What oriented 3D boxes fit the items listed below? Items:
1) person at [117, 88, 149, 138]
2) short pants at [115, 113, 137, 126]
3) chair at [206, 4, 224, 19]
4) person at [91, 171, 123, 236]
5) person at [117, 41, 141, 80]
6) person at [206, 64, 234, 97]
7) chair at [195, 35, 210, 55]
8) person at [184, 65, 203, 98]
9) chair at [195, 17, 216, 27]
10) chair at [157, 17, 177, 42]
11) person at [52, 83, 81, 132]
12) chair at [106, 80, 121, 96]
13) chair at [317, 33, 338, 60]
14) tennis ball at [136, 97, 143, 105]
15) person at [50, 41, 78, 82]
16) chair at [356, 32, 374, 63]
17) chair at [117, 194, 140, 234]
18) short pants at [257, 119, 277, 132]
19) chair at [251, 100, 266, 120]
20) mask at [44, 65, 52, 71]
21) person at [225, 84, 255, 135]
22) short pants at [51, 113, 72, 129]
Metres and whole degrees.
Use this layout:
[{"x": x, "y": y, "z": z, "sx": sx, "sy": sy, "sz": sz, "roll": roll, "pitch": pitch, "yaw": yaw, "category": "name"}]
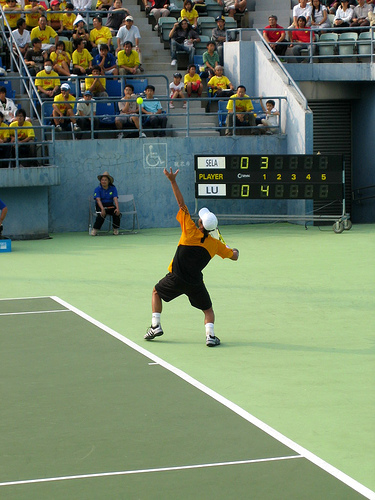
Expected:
[{"x": -1.582, "y": -3.926, "z": 17.948, "sx": 0.818, "sy": 1.356, "sz": 1.196, "roll": -1, "pitch": 6, "yaw": -5, "category": "person"}, {"x": -1.746, "y": -3.770, "z": 17.961, "sx": 0.571, "sy": 0.313, "sz": 0.463, "roll": -1, "pitch": 6, "yaw": -6, "category": "short pants"}, {"x": 1.053, "y": -9.093, "z": 23.796, "sx": 0.692, "sy": 0.480, "sz": 0.546, "roll": 0, "pitch": -2, "yaw": -10, "category": "chair"}, {"x": -2.190, "y": -1.250, "z": 17.030, "sx": 0.727, "sy": 1.697, "sz": 0.612, "roll": 1, "pitch": 6, "yaw": 10, "category": "person"}, {"x": -1.812, "y": -5.831, "z": 19.671, "sx": 0.745, "sy": 1.357, "sz": 0.818, "roll": -13, "pitch": 25, "yaw": -31, "category": "person"}, {"x": 1.097, "y": -5.296, "z": 19.806, "sx": 0.901, "sy": 1.028, "sz": 0.773, "roll": 3, "pitch": 7, "yaw": 32, "category": "person"}, {"x": 0.563, "y": -7.148, "z": 21.887, "sx": 0.387, "sy": 0.756, "sz": 0.665, "roll": 2, "pitch": 7, "yaw": 23, "category": "chair"}, {"x": 0.189, "y": -5.350, "z": 19.998, "sx": 0.440, "sy": 0.929, "sz": 0.863, "roll": 2, "pitch": 7, "yaw": 21, "category": "person"}, {"x": 0.645, "y": -8.210, "z": 22.625, "sx": 0.742, "sy": 0.436, "sz": 0.260, "roll": -2, "pitch": 5, "yaw": -13, "category": "chair"}, {"x": -0.732, "y": -7.816, "z": 22.384, "sx": 0.725, "sy": 0.864, "sz": 0.861, "roll": -1, "pitch": 13, "yaw": -4, "category": "chair"}, {"x": -3.358, "y": -3.983, "z": 17.433, "sx": 0.725, "sy": 1.312, "sz": 1.421, "roll": -2, "pitch": 17, "yaw": -20, "category": "person"}, {"x": -2.222, "y": -4.971, "z": 19.203, "sx": 0.424, "sy": 0.493, "sz": 0.254, "roll": -1, "pitch": 6, "yaw": -3, "category": "chair"}, {"x": 4.635, "y": -6.789, "z": 20.791, "sx": 0.653, "sy": 1.033, "sz": 1.232, "roll": 1, "pitch": 6, "yaw": 11, "category": "chair"}, {"x": -1.238, "y": -3.962, "z": 16.690, "sx": 0.153, "sy": 0.173, "sz": 0.152, "roll": -18, "pitch": 27, "yaw": 10, "category": "tennis ball"}, {"x": -3.741, "y": -5.742, "z": 19.005, "sx": 0.692, "sy": 1.250, "sz": 0.944, "roll": -2, "pitch": 6, "yaw": -13, "category": "person"}, {"x": 5.800, "y": -6.626, "z": 20.476, "sx": 0.552, "sy": 1.139, "sz": 0.968, "roll": 1, "pitch": 6, "yaw": 14, "category": "chair"}, {"x": -1.623, "y": -1.029, "z": 17.745, "sx": 0.582, "sy": 1.085, "sz": 0.852, "roll": -1, "pitch": 6, "yaw": -4, "category": "chair"}, {"x": 2.336, "y": -3.782, "z": 18.961, "sx": 0.629, "sy": 0.408, "sz": 0.637, "roll": 3, "pitch": 7, "yaw": 26, "category": "short pants"}, {"x": 2.194, "y": -4.462, "z": 19.679, "sx": 0.481, "sy": 0.625, "sz": 0.647, "roll": -1, "pitch": 4, "yaw": -4, "category": "chair"}, {"x": -4.001, "y": -5.288, "z": 18.251, "sx": 0.196, "sy": 0.162, "sz": 0.325, "roll": -2, "pitch": 6, "yaw": -15, "category": "mask"}, {"x": 1.574, "y": -4.147, "z": 18.645, "sx": 0.814, "sy": 1.412, "sz": 1.261, "roll": 0, "pitch": 6, "yaw": 6, "category": "person"}, {"x": -3.511, "y": -3.595, "z": 17.650, "sx": 0.172, "sy": 0.428, "sz": 0.457, "roll": 13, "pitch": 12, "yaw": -33, "category": "short pants"}]
